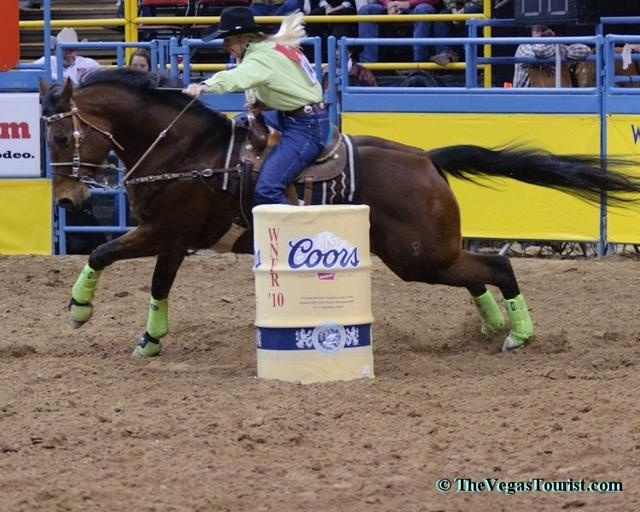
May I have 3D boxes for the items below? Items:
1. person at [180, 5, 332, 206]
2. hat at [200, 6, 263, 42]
[{"bbox_3d":[-0.392,-1.156,8.809,1.005,1.501,0.552,-2,9,-7],"label":"person"},{"bbox_3d":[-0.691,-1.775,8.832,0.425,0.127,0.280,-11,18,2],"label":"hat"}]
